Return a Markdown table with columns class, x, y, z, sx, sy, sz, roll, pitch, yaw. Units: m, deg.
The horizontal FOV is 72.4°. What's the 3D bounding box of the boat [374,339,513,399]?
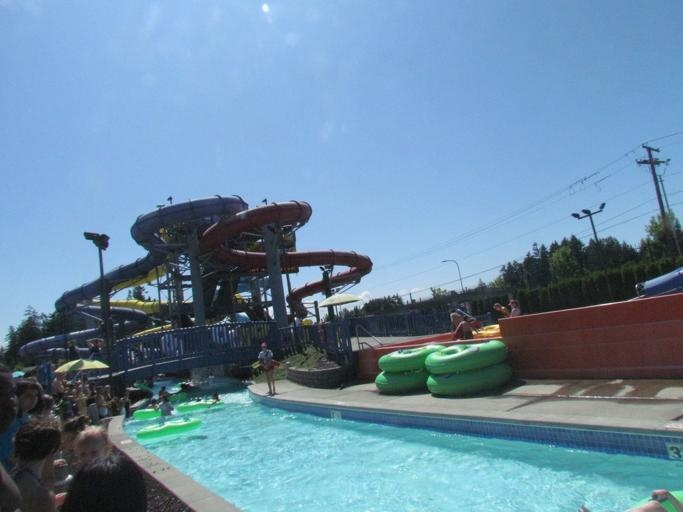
| class | x | y | z | sx | sy | sz | roll | pitch | yaw |
| --- | --- | --- | --- | --- | --- | --- | --- | --- | --- |
| boat | 2.257 | 2.601 | 10.411 | 2.104 | 0.640 | 1.873 | 1 | -9 | -39 |
